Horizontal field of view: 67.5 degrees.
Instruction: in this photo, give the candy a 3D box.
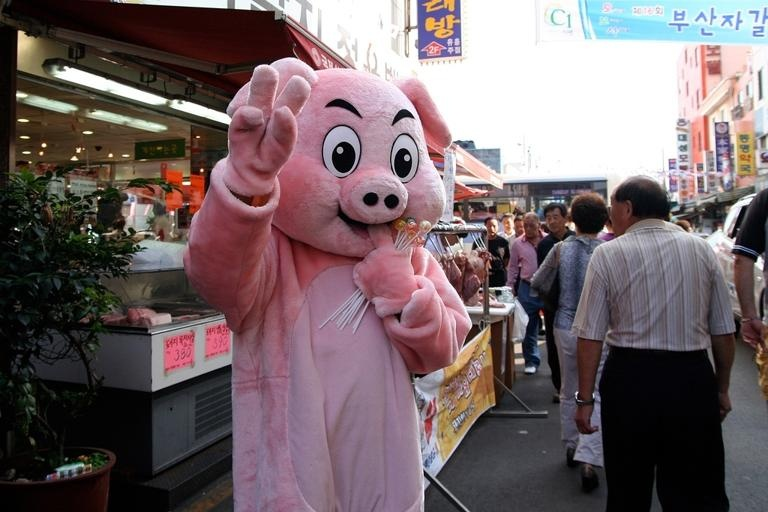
[{"bbox_3d":[0.006,0.105,3.147,0.388,0.729,0.279,40,-9,3],"label":"candy"}]
